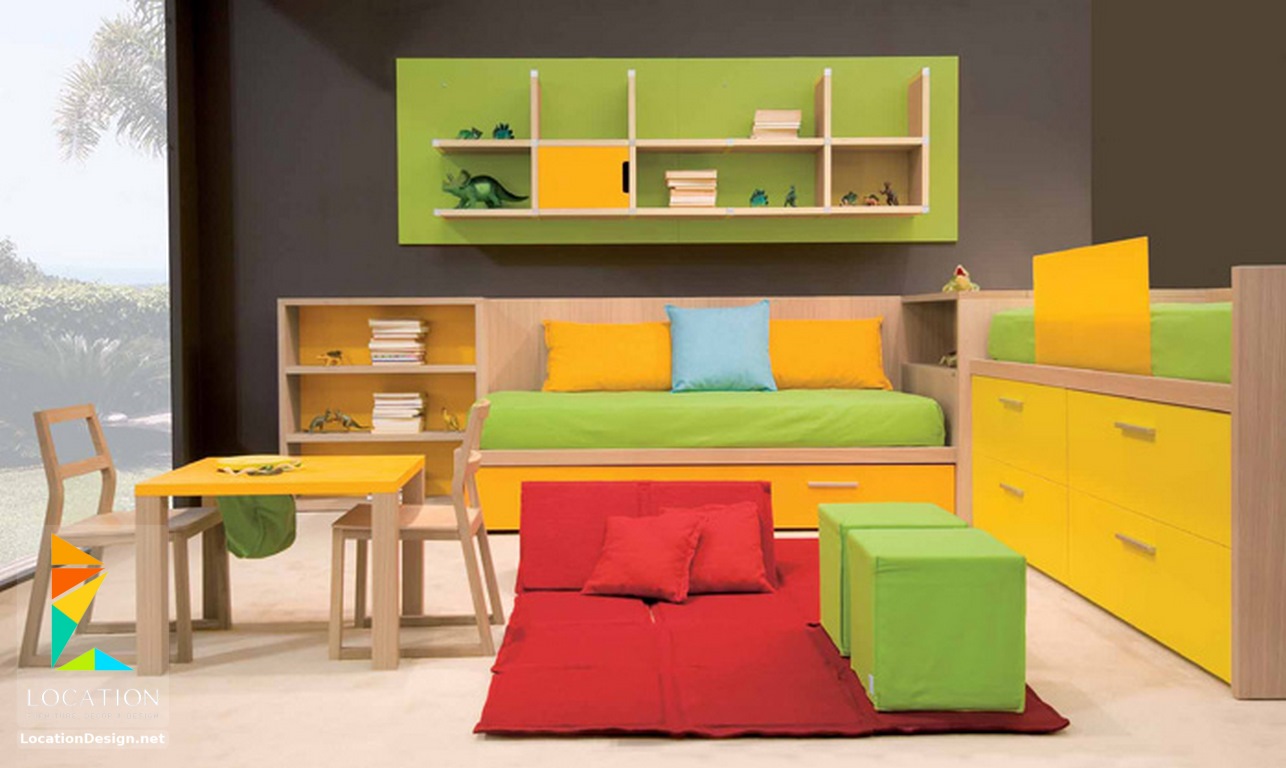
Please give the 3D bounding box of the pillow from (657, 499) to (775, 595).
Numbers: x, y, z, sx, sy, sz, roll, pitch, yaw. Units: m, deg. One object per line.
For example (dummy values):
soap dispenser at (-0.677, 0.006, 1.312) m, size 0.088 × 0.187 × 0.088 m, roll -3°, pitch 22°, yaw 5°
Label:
pillow at (0.434, 0.803, 5.047) m, size 0.490 × 0.443 × 0.185 m, roll 1°, pitch -14°, yaw 0°

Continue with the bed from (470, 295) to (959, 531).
bed at (0.461, 0.151, 6.546) m, size 3.068 × 1.408 × 0.913 m, roll 0°, pitch 4°, yaw -1°

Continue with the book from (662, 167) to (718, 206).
book at (0.344, -1.288, 6.832) m, size 0.279 × 0.184 × 0.266 m, roll 0°, pitch 2°, yaw -1°

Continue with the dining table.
dining table at (-1.788, 0.896, 5.198) m, size 1.542 × 0.760 × 1.553 m, roll -3°, pitch -6°, yaw 36°

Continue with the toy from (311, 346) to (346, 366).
toy at (-2.127, -0.188, 6.958) m, size 0.209 × 0.109 × 0.167 m, roll -1°, pitch 4°, yaw -13°

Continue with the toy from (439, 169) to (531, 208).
toy at (-1.071, -1.280, 6.861) m, size 0.698 × 0.288 × 0.232 m, roll 2°, pitch 2°, yaw 1°

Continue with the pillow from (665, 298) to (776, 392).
pillow at (0.539, -0.224, 6.712) m, size 0.646 × 0.536 × 0.183 m, roll 0°, pitch -10°, yaw 0°

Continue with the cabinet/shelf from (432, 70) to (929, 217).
cabinet/shelf at (0.398, -1.617, 6.874) m, size 3.153 × 1.003 × 0.336 m, roll 0°, pitch 4°, yaw 0°

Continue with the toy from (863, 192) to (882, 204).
toy at (1.553, -1.230, 6.896) m, size 0.083 × 0.092 × 0.035 m, roll 14°, pitch 11°, yaw 5°

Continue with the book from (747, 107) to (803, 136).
book at (0.909, -1.722, 6.870) m, size 0.333 × 0.227 × 0.277 m, roll 0°, pitch 4°, yaw 5°

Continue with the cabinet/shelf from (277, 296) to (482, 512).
cabinet/shelf at (-1.683, 0.090, 6.859) m, size 1.421 × 1.211 × 0.407 m, roll 0°, pitch 0°, yaw 4°

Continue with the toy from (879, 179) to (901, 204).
toy at (1.672, -1.284, 6.930) m, size 0.085 × 0.101 × 0.244 m, roll -1°, pitch 39°, yaw 7°

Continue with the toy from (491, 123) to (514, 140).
toy at (-0.932, -1.677, 6.872) m, size 0.159 × 0.142 × 0.041 m, roll 4°, pitch -3°, yaw 4°

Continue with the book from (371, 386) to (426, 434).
book at (-1.607, 0.186, 6.810) m, size 0.304 × 0.171 × 0.274 m, roll 1°, pitch -1°, yaw -3°

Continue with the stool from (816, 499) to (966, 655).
stool at (1.075, 0.879, 4.922) m, size 0.697 × 0.615 × 0.663 m, roll 0°, pitch -2°, yaw -10°

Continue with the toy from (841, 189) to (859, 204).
toy at (1.396, -1.248, 6.938) m, size 0.125 × 0.119 × 0.080 m, roll 6°, pitch 11°, yaw -8°

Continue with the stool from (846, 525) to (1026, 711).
stool at (1.252, 1.015, 4.667) m, size 0.775 × 0.637 × 0.736 m, roll 0°, pitch -1°, yaw -5°
